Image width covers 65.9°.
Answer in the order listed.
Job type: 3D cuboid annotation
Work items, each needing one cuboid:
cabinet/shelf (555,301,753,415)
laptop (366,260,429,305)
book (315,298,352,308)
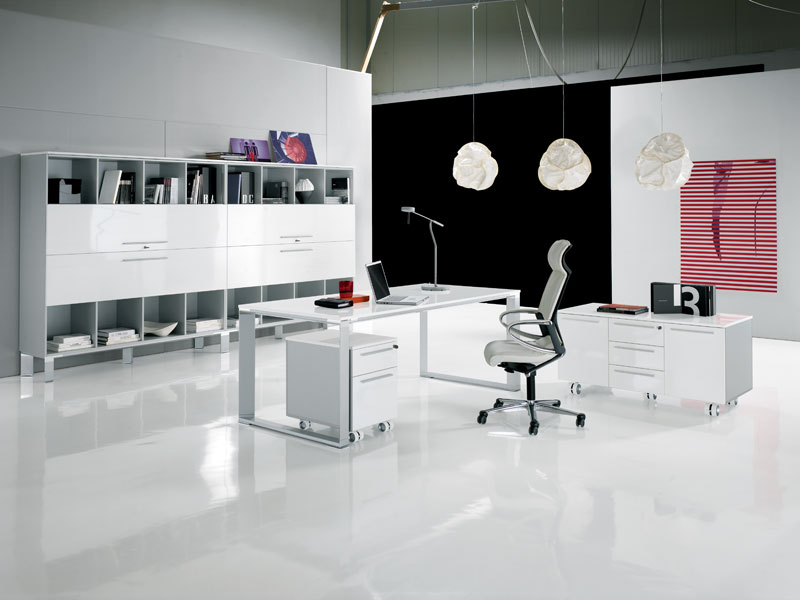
[{"bbox_3d":[2.340,0.527,5.747,1.550,0.830,0.562,5,9,34],"label":"cabinet/shelf"},{"bbox_3d":[-0.032,-0.143,5.410,0.414,0.313,0.398,3,4,16],"label":"laptop"},{"bbox_3d":[-0.557,0.026,5.094,0.311,0.070,0.178,0,8,3],"label":"book"}]
